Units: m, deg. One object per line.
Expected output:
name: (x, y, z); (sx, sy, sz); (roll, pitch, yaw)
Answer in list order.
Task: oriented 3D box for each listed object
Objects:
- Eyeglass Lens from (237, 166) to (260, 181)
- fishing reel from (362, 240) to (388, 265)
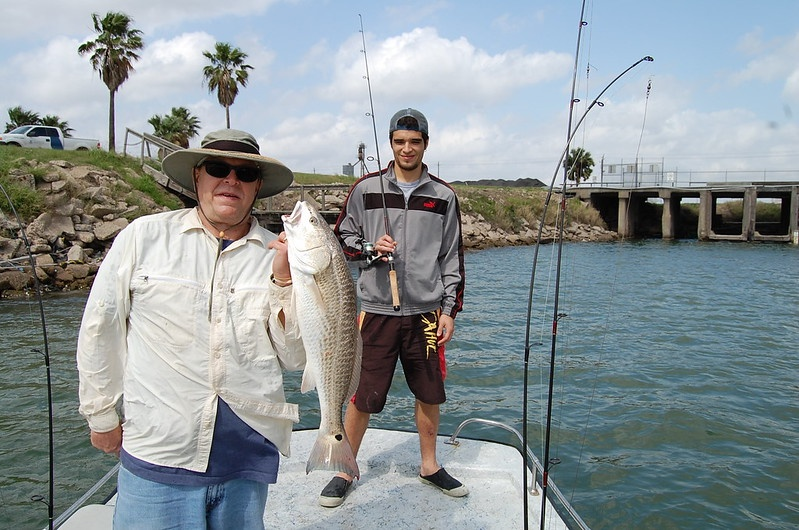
Eyeglass Lens: (-0.966, -0.584, 3.878); (0.103, 0.038, 0.098); (0, 50, -20)
fishing reel: (-0.200, -0.088, 4.874); (0.148, 0.202, 0.083); (-25, 15, 34)
